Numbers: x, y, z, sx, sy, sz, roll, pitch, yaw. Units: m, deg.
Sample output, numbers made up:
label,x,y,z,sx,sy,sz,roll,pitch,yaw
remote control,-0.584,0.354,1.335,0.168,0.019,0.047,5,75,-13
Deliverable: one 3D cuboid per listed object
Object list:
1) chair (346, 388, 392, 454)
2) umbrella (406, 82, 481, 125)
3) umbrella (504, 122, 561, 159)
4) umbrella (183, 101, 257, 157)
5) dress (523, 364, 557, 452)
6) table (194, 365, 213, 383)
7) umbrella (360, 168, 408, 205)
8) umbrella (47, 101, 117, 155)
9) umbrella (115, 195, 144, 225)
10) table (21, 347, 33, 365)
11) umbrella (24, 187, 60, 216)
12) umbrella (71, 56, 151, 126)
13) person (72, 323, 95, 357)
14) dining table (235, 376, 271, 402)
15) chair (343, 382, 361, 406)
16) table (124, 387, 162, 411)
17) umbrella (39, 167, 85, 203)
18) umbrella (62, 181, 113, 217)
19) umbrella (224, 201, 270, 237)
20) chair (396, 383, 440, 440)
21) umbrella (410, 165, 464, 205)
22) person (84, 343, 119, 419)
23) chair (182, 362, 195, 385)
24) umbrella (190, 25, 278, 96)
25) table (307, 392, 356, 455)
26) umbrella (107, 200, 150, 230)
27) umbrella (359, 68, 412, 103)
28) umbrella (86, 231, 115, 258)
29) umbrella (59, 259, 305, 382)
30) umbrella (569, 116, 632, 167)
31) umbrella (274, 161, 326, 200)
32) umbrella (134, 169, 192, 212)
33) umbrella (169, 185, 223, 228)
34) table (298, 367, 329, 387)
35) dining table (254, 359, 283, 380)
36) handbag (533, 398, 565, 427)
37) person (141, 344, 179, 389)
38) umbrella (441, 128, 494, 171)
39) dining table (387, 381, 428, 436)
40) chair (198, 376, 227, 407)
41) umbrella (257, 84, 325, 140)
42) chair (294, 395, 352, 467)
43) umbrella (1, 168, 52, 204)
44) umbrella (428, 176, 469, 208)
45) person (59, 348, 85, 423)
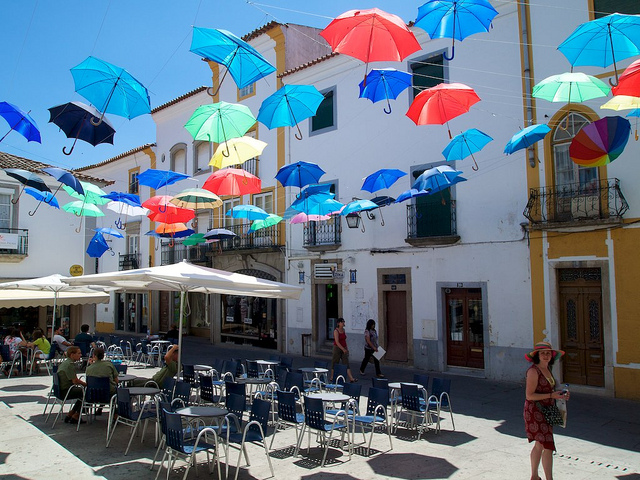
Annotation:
label,x,y,z,sx,sy,sz,roll,pitch,yaw
chair,1.080,3.944,13.406,1.048,1.262,0.936,-2,-6,27
umbrella,2.809,-3.154,14.103,1.626,0.595,1.643,-11,-7,40
umbrella,6.146,-2.806,17.326,1.035,0.552,1.047,-31,-8,40
umbrella,-2.435,-2.797,14.571,1.360,1.004,1.305,-11,-26,17
dress,4.056,3.076,11.188,0.539,1.548,0.354,-1,-6,14
table,-3.225,3.659,16.668,0.605,0.416,0.624,1,-4,-5
umbrella,2.012,-1.731,19.279,0.893,0.685,0.868,-20,-13,-5
umbrella,-5.956,-2.574,14.629,1.246,1.017,1.306,15,13,8
umbrella,-6.050,-1.093,19.779,0.976,0.425,0.999,-6,-7,-8
table,-9.672,3.820,20.152,0.311,0.497,1.442,3,-7,-26
umbrella,-10.659,-1.452,23.192,0.991,0.861,0.973,19,-15,-1
umbrella,-4.683,-3.053,13.833,1.629,1.268,1.605,36,34,24
person,-7.864,3.659,20.353,0.630,1.692,0.811,3,5,-5
dining table,-1.632,3.795,15.682,0.956,0.642,0.965,7,-9,-25
chair,0.753,3.459,13.855,0.357,0.669,0.422,-6,-16,31
table,-3.866,3.443,13.391,0.501,0.339,0.506,2,0,-27
umbrella,-6.775,-1.368,16.153,0.776,0.561,0.750,31,-3,2
umbrella,-8.147,-1.436,21.163,1.504,1.093,1.513,-6,-24,40
umbrella,-2.565,-0.621,20.815,1.343,1.019,1.383,-4,4,-17
chair,2.295,3.890,14.093,0.787,1.291,0.745,-4,4,-40
umbrella,3.347,-1.637,17.241,0.882,0.765,0.907,-17,-11,10
person,-5.042,3.329,14.128,0.941,1.722,1.021,0,1,-27
chair,-3.454,3.549,16.095,0.291,0.425,0.938,2,-7,-14
umbrella,-1.861,-3.850,12.759,1.666,0.891,0.835,6,-8,-39
table,0.348,4.075,13.480,1.079,1.314,1.372,-4,-10,13
umbrella,-6.619,-0.856,20.952,0.796,0.648,0.824,4,-16,6
umbrella,1.570,-3.752,14.557,1.122,0.381,1.137,1,-17,-20
umbrella,-9.630,0.166,26.676,0.867,0.876,0.593,-37,-46,5
umbrella,-3.194,1.908,14.505,4.990,2.915,2.669,-2,-7,21
umbrella,6.493,-2.266,14.032,1.213,1.211,0.421,-7,33,9
umbrella,-0.642,-1.738,17.608,1.319,0.865,1.265,-5,-20,6
umbrella,-4.812,-1.764,18.590,1.303,1.036,1.493,4,-13,-17
umbrella,-3.663,-1.008,18.072,1.034,0.835,1.046,0,-4,42
table,-0.143,3.568,16.152,0.631,0.411,0.637,7,-17,-29
dining table,-1.513,3.663,17.621,0.797,0.617,0.824,-1,-3,7
handbag,4.220,3.160,11.145,0.360,0.484,0.160,-19,-15,0
person,-3.832,3.069,14.815,0.715,1.010,1.487,2,-7,-13
umbrella,4.134,-2.374,16.694,0.995,0.875,1.085,-5,-19,-40
dining table,2.250,3.993,14.841,0.975,1.098,0.953,13,-21,-26
chair,-2.622,3.677,14.877,0.594,0.732,1.053,1,-7,-10
umbrella,-0.686,-3.314,15.359,1.432,1.069,1.407,-18,-31,6
chair,0.085,3.949,12.923,1.082,1.323,1.042,3,-1,-31
umbrella,-8.069,-1.691,16.842,0.910,0.660,0.930,16,-13,39
umbrella,3.764,-1.428,17.448,0.679,0.611,0.695,-21,-8,-9
person,-5.786,3.399,14.203,0.554,1.704,0.782,3,-7,-23
